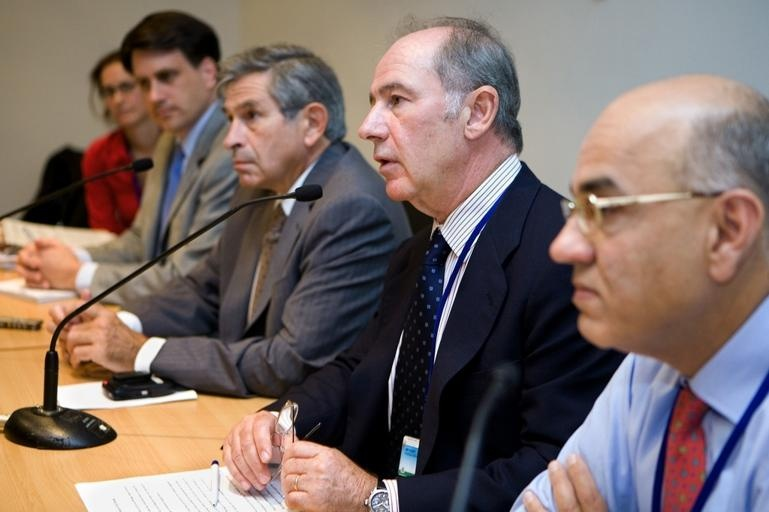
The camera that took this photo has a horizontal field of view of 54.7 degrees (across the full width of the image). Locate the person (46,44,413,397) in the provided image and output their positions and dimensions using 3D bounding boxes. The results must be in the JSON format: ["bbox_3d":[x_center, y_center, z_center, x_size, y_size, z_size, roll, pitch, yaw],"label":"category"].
[{"bbox_3d":[-0.408,-0.117,2.620,1.196,0.996,0.947,-1,2,-38],"label":"person"}]

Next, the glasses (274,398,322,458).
[{"bbox_3d":[-0.218,0.430,1.829,0.052,0.166,0.068,11,-23,-3],"label":"glasses"}]

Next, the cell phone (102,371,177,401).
[{"bbox_3d":[-0.686,0.358,2.117,0.139,0.047,0.091,2,-2,-33],"label":"cell phone"}]

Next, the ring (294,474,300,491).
[{"bbox_3d":[-0.188,0.498,1.623,0.011,0.028,0.016,-4,8,-37],"label":"ring"}]
